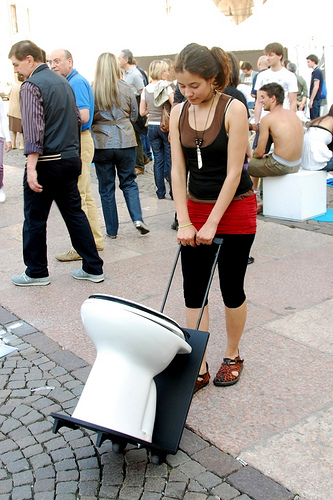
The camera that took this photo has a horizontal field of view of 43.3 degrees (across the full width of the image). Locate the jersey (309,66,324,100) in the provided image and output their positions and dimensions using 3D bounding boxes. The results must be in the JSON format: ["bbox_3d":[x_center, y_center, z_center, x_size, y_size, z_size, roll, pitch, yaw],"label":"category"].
[{"bbox_3d":[4.417,-4.899,12.301,0.356,0.919,0.488,1,12,19],"label":"jersey"}]

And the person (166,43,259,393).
[{"bbox_3d":[0.280,-0.105,2.131,0.486,1.774,0.958,-3,11,1],"label":"person"}]

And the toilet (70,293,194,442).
[{"bbox_3d":[-0.140,0.461,1.615,0.448,0.472,0.369,23,-24,-24],"label":"toilet"}]

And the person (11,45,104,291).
[{"bbox_3d":[-1.116,-0.662,3.983,0.609,2.067,0.646,7,15,43],"label":"person"}]

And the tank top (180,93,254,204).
[{"bbox_3d":[0.242,-0.489,1.997,0.352,0.538,0.311,4,15,31],"label":"tank top"}]

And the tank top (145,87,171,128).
[{"bbox_3d":[-0.156,-2.320,6.860,0.309,0.655,0.323,-1,22,-8],"label":"tank top"}]

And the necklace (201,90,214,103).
[{"bbox_3d":[0.184,-0.685,1.868,0.039,0.048,0.019,16,13,19],"label":"necklace"}]

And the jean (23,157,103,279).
[{"bbox_3d":[-0.987,-0.360,4.249,0.712,1.180,0.694,4,25,-3],"label":"jean"}]

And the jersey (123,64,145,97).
[{"bbox_3d":[-0.715,-3.553,8.735,0.617,0.535,0.327,-7,0,-14],"label":"jersey"}]

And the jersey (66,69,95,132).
[{"bbox_3d":[-0.902,-1.608,4.553,0.266,0.659,0.265,-20,31,-39],"label":"jersey"}]
